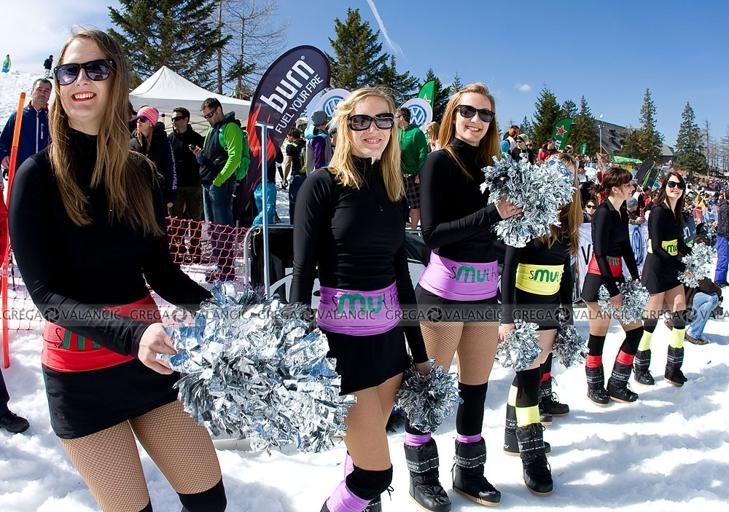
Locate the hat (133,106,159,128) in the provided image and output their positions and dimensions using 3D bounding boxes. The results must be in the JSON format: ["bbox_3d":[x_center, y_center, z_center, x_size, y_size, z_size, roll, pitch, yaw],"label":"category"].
[{"bbox_3d":[-2.797,-1.825,6.652,0.222,0.274,0.300,14,-4,-1],"label":"hat"}]

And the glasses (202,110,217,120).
[{"bbox_3d":[-2.238,-2.020,7.373,0.109,0.039,0.118,-8,32,30],"label":"glasses"}]

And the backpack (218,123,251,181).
[{"bbox_3d":[-1.867,-1.650,7.423,0.398,0.653,0.428,-17,-19,18],"label":"backpack"}]

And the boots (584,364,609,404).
[{"bbox_3d":[2.502,1.376,5.499,0.192,0.401,0.416,-1,3,7],"label":"boots"}]

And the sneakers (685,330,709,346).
[{"bbox_3d":[4.608,1.105,7.070,0.127,0.166,0.365,-6,8,-27],"label":"sneakers"}]

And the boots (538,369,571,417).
[{"bbox_3d":[1.886,1.430,5.218,0.171,0.386,0.372,2,-13,-40],"label":"boots"}]

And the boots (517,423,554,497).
[{"bbox_3d":[1.365,1.600,4.158,0.191,0.445,0.624,-2,6,-1],"label":"boots"}]
